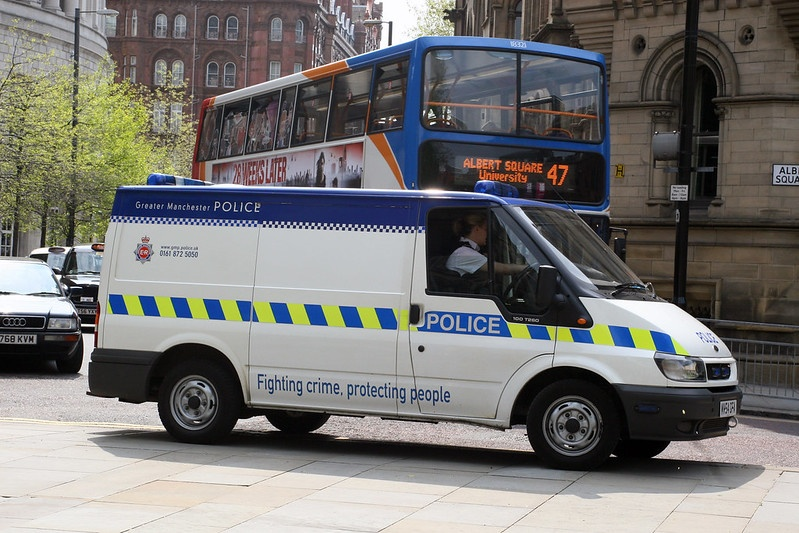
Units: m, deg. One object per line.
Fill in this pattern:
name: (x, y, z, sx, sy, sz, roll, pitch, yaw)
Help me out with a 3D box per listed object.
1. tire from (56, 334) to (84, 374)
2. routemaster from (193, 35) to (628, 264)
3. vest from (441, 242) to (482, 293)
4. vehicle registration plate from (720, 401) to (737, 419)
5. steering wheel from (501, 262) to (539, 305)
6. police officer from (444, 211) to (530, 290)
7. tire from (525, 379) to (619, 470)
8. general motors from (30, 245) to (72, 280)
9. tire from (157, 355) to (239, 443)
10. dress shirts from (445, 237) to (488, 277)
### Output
tire: (-5.940, 1.574, 15.989, 0.260, 0.732, 0.732, 0, 4, -8)
routemaster: (-0.350, -2.231, 17.343, 3.483, 4.047, 8.866, -2, 5, -41)
vest: (0.723, -0.040, 10.065, 0.377, 0.640, 0.709, -2, 8, -8)
vehicle registration plate: (3.553, 1.557, 9.621, 0.120, 0.243, 0.482, 2, 3, 30)
steering wheel: (1.321, 0.193, 9.820, 0.457, 0.553, 0.356, 1, -2, 7)
police officer: (0.994, -0.211, 9.966, 0.922, 0.764, 0.619, 7, 9, 13)
tire: (1.914, 1.723, 9.630, 0.976, 0.966, 0.354, 0, -6, 29)
general motors: (-9.089, -0.075, 23.322, 0.881, 0.757, 1.500, 2, -7, -21)
tire: (-2.358, 1.559, 10.484, 1.068, 1.065, 0.377, 2, 1, 14)
dress shirts: (0.729, -0.096, 9.911, 0.363, 0.420, 0.648, -6, 7, -44)
